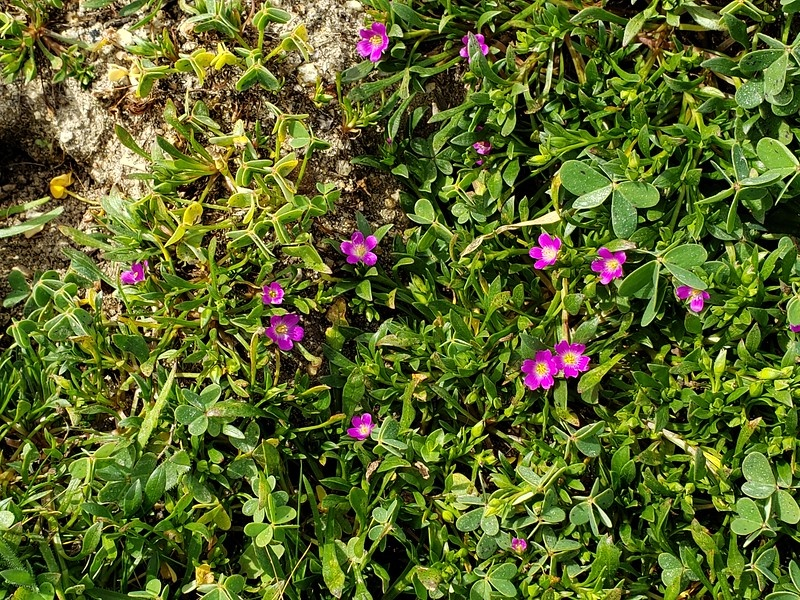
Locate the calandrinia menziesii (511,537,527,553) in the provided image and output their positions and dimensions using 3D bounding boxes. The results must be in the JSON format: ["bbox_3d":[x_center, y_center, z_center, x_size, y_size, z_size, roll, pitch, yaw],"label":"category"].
[{"bbox_3d":[0.361,0.748,2.130,0.041,0.040,0.042,-1,60,16],"label":"calandrinia menziesii"}]
